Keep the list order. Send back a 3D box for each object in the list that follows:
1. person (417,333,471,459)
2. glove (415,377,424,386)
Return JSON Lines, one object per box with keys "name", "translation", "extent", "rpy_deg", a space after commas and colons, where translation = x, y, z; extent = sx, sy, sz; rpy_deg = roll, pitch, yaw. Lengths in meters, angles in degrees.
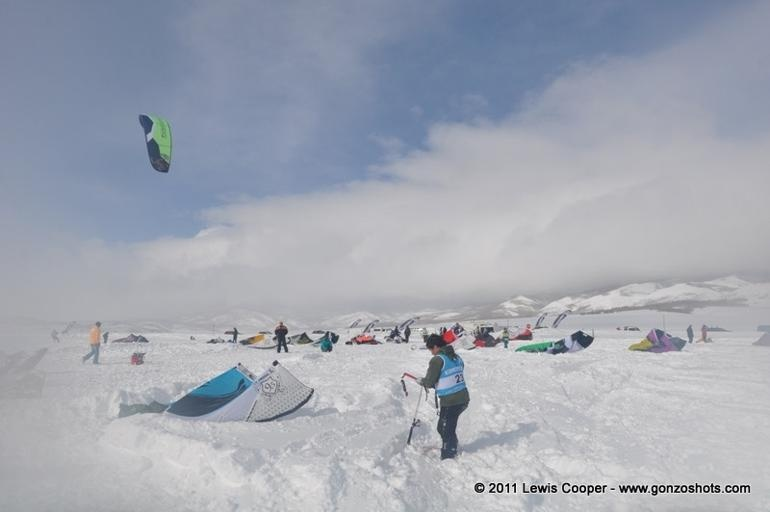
{"name": "person", "translation": [1.382, 3.174, 11.568], "extent": [1.023, 2.742, 0.606], "rpy_deg": [3, 6, 9]}
{"name": "glove", "translation": [0.800, 2.917, 11.682], "extent": [0.059, 0.248, 0.249], "rpy_deg": [-6, 0, 43]}
